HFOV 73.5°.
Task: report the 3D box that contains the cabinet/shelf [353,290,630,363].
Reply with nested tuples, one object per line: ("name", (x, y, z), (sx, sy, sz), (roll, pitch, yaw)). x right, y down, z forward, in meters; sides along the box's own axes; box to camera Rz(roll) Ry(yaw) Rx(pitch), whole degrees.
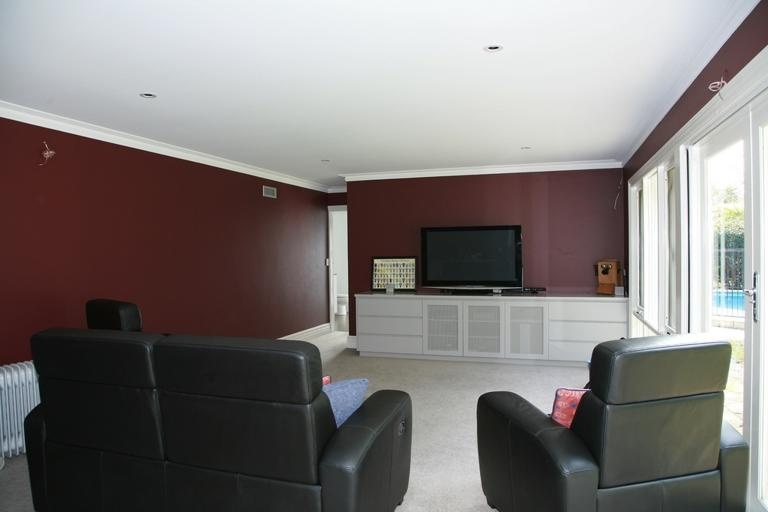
("cabinet/shelf", (1.378, 0.997, 7.113), (3.488, 0.893, 0.617), (0, -6, 11))

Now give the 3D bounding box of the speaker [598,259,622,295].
("speaker", (3.002, 0.266, 6.859), (0.253, 0.419, 0.450), (0, 4, 41))

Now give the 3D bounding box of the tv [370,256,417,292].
("tv", (0.158, 0.271, 7.620), (0.532, 0.381, 0.075), (-1, -9, 14))

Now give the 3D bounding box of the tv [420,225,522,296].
("tv", (1.241, 0.052, 7.362), (1.444, 0.945, 0.157), (0, -11, 9))
